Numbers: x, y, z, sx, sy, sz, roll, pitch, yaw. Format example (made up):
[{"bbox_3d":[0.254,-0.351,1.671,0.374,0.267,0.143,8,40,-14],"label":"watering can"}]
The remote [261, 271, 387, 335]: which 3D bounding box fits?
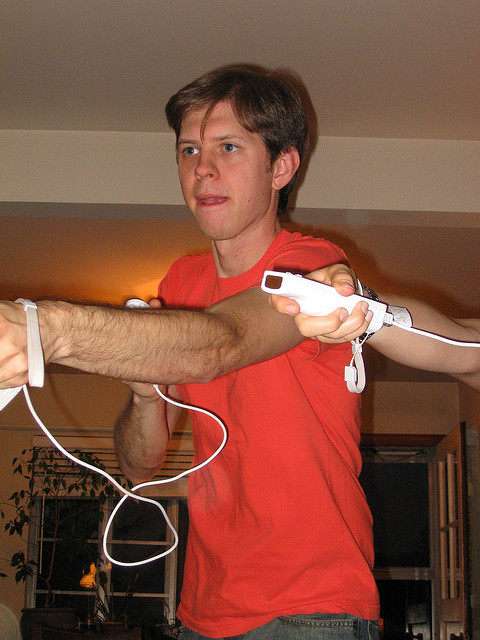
[{"bbox_3d":[0.112,-0.018,0.758,0.063,0.041,0.279,-10,-16,39],"label":"remote"}]
